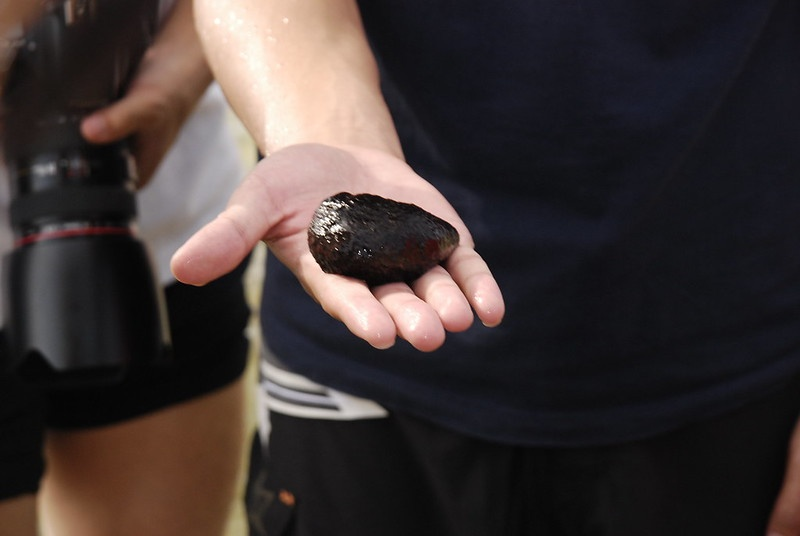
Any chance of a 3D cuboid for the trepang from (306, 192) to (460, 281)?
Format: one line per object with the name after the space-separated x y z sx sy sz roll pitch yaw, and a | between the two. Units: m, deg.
-0.048 -0.068 1.421 0.244 0.074 0.187 5 75 2 | trepang
